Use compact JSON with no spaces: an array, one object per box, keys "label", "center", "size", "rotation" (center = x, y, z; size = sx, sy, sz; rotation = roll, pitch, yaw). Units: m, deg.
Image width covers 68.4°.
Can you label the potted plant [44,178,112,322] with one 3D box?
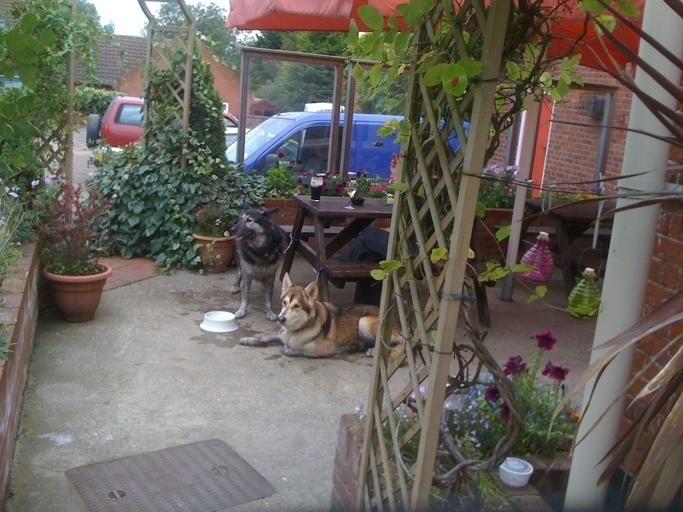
[{"label":"potted plant","center":[-2.860,-0.023,5.491],"size":[0.701,1.428,0.711],"rotation":[4,8,-8]}]

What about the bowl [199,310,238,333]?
[{"label":"bowl","center":[-1.341,0.715,5.490],"size":[0.413,0.179,0.287],"rotation":[4,7,-3]}]

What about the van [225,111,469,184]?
[{"label":"van","center":[-0.482,-2.332,10.177],"size":[3.269,1.519,1.807],"rotation":[-1,8,-35]}]

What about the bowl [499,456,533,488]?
[{"label":"bowl","center":[0.864,1.076,2.514],"size":[0.144,0.099,0.171],"rotation":[9,8,35]}]

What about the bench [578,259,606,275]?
[{"label":"bench","center":[3.212,0.141,6.464],"size":[0.294,0.155,0.192],"rotation":[1,-17,7]}]

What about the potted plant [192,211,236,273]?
[{"label":"potted plant","center":[-1.907,-0.225,7.504],"size":[0.769,0.637,0.779],"rotation":[1,12,-6]}]

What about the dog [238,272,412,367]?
[{"label":"dog","center":[-0.256,0.583,5.137],"size":[1.297,0.599,0.914],"rotation":[5,-1,-31]}]

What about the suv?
[{"label":"suv","center":[-6.701,-4.269,17.911],"size":[5.019,2.292,1.885],"rotation":[9,9,30]}]
